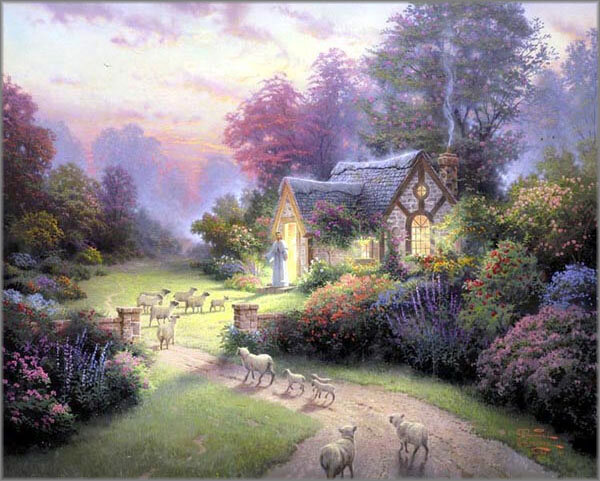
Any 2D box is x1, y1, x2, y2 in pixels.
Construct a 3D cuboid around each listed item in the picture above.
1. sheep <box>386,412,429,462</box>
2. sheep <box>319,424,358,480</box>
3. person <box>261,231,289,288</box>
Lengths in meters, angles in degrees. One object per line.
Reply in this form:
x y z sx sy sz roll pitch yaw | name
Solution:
2.052 3.674 12.586 0.711 0.926 0.854 2 -3 12 | sheep
0.686 3.708 11.730 0.362 0.916 1.356 -1 -2 19 | sheep
-0.650 0.623 21.477 0.651 1.785 0.530 2 -2 -1 | person
